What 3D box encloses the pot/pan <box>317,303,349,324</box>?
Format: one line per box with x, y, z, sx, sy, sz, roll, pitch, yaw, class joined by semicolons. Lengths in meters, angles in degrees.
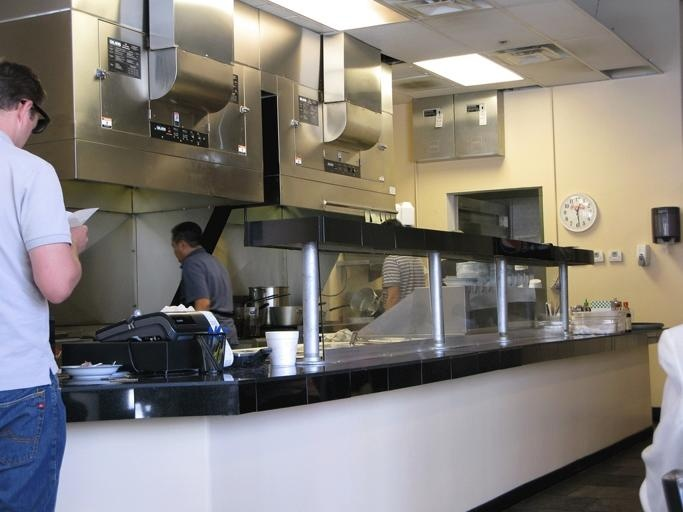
-0.050;0.323;3.358;0.162;0.073;0.095;-1;-2;28;pot/pan

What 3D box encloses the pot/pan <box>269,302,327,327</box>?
-0.347;0.495;5.008;0.498;0.236;0.348;0;-2;31;pot/pan

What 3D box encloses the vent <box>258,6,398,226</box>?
-0.026;-1.119;5.297;0.433;1.489;1.482;-2;-1;40;vent

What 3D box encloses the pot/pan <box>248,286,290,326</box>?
-0.610;0.412;5.102;0.284;0.338;0.316;-1;0;5;pot/pan

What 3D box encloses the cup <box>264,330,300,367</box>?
-0.275;0.417;2.740;0.130;0.154;0.147;1;-2;-12;cup

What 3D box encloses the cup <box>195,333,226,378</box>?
-0.545;0.415;2.535;0.142;0.183;0.137;-1;1;0;cup

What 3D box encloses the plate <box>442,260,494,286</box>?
0.850;0.119;3.959;0.444;0.157;0.071;-2;0;-36;plate

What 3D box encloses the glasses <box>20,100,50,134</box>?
-1.027;-0.467;2.052;0.034;0.111;0.103;-31;23;-24;glasses

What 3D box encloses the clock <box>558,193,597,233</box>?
2.646;-0.473;6.684;0.386;0.437;0.059;-2;-3;33;clock

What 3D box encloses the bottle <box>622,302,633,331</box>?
2.556;0.536;5.372;0.048;0.266;0.324;-2;0;25;bottle
